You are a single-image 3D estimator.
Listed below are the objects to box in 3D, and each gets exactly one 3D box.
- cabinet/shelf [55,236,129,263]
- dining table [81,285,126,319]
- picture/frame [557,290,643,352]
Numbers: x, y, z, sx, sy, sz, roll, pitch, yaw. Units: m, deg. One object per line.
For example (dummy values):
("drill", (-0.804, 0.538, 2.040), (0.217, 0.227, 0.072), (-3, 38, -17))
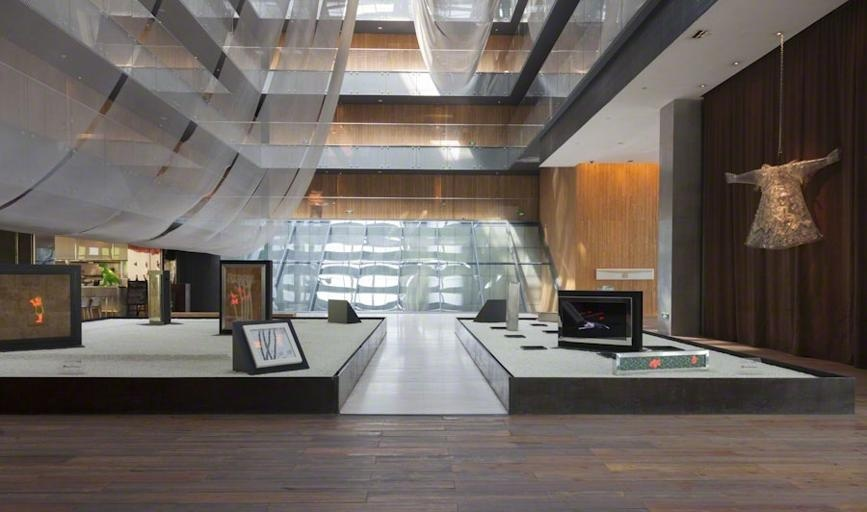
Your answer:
("cabinet/shelf", (-7.566, -0.100, 14.356), (0.573, 0.579, 2.407), (-2, -6, -3))
("dining table", (-6.497, 0.916, 12.848), (0.739, 0.559, 2.264), (0, -6, -26))
("picture/frame", (1.864, 0.715, 7.142), (0.730, 0.481, 0.121), (0, 1, 25))
